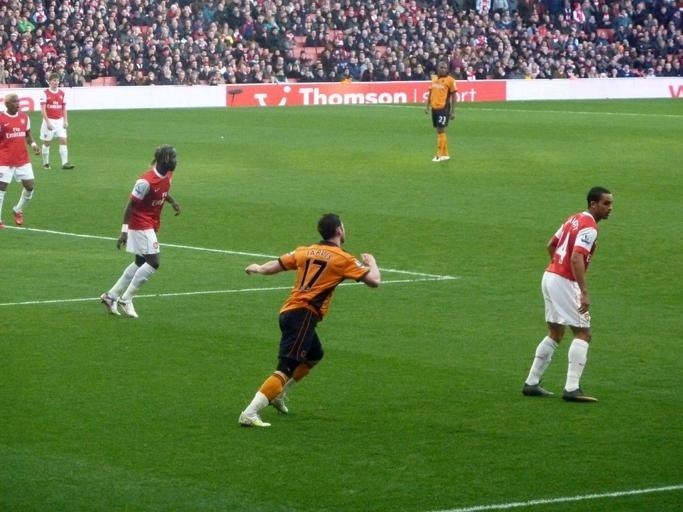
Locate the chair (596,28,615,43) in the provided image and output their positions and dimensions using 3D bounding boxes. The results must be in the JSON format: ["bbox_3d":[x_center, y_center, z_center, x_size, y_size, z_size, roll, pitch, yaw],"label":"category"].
[{"bbox_3d":[10.616,-8.938,52.378,0.711,0.877,0.879,-1,8,-6],"label":"chair"}]

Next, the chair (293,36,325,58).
[{"bbox_3d":[-1.128,-7.513,46.613,1.242,0.757,0.614,-4,8,-36],"label":"chair"}]

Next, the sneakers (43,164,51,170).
[{"bbox_3d":[-6.266,-1.925,27.873,0.080,0.077,0.206,-6,5,-27],"label":"sneakers"}]

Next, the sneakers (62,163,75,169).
[{"bbox_3d":[-5.746,-1.912,27.508,0.282,0.121,0.104,-7,2,39],"label":"sneakers"}]

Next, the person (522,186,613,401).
[{"bbox_3d":[2.460,0.397,14.053,0.759,2.312,0.468,6,7,23],"label":"person"}]

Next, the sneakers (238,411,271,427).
[{"bbox_3d":[-0.845,1.678,13.462,0.400,0.153,0.127,4,9,-11],"label":"sneakers"}]

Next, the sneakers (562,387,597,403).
[{"bbox_3d":[2.615,1.505,14.136,0.434,0.153,0.140,-1,0,3],"label":"sneakers"}]

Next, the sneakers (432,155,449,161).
[{"bbox_3d":[2.226,-2.184,29.000,0.137,0.156,0.402,2,1,39],"label":"sneakers"}]

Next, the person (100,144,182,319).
[{"bbox_3d":[-2.542,-0.324,16.508,0.790,2.203,0.475,2,7,-12],"label":"person"}]

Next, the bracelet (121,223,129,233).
[{"bbox_3d":[-2.752,-0.361,16.402,0.150,0.128,0.142,0,-1,7],"label":"bracelet"}]

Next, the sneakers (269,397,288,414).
[{"bbox_3d":[-0.623,1.566,13.749,0.149,0.092,0.292,-28,-39,21],"label":"sneakers"}]

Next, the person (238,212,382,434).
[{"bbox_3d":[-0.335,0.671,13.376,1.288,2.221,0.525,3,7,-4],"label":"person"}]

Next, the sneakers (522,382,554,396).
[{"bbox_3d":[2.166,1.450,14.291,0.395,0.152,0.123,-1,14,-6],"label":"sneakers"}]
